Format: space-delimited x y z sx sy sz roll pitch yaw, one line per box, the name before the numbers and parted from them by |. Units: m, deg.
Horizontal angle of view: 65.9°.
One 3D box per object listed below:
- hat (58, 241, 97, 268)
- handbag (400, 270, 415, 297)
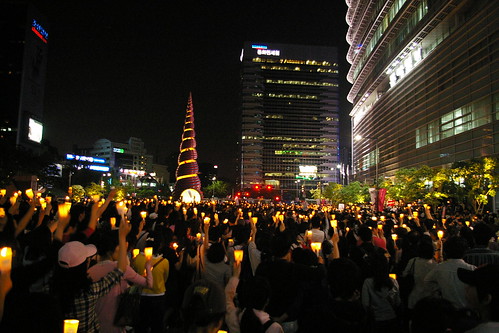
hat | -3.387 1.671 7.601 0.454 0.322 0.648 24 26 24
handbag | 3.798 2.825 9.284 0.149 0.584 0.423 12 8 -4
